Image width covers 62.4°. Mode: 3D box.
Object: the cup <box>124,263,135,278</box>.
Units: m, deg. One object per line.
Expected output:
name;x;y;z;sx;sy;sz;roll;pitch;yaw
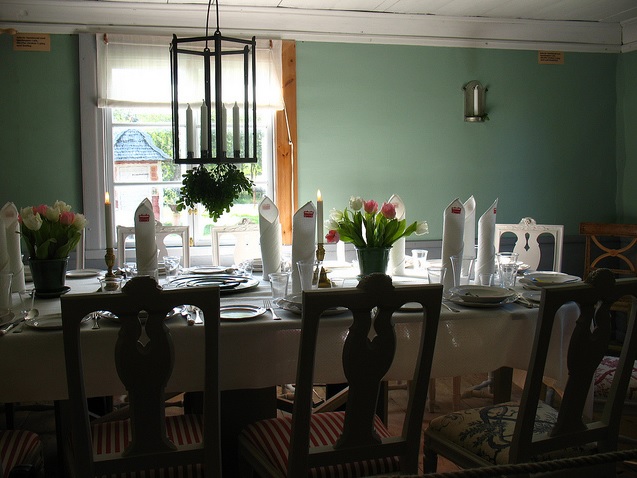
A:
cup;-0.982;0.168;2.733;0.053;0.090;0.056;4;4;0

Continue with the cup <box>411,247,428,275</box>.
cup;0.617;0.136;3.006;0.114;0.159;0.120;1;-2;0

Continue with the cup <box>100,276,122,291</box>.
cup;-1.007;0.221;2.549;0.068;0.053;0.072;2;0;0

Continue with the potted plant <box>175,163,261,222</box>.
potted plant;-0.513;-0.224;2.579;0.360;0.282;0.454;-3;6;-16

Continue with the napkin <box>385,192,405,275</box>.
napkin;0.434;-0.034;3.005;0.121;0.551;0.127;4;-30;1

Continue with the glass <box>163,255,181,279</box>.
glass;-0.706;0.137;2.562;0.087;0.127;0.100;1;2;-11

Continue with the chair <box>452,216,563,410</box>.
chair;1.416;0.521;3.533;0.521;1.230;0.513;3;7;13

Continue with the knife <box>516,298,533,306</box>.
knife;0.901;0.278;2.286;0.014;0.018;0.097;17;3;-29

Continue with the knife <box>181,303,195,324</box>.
knife;-0.529;0.306;2.125;0.044;0.028;0.197;-5;12;-22

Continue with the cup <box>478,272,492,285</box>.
cup;0.763;0.182;2.404;0.047;0.042;0.050;1;3;0

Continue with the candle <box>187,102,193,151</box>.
candle;-0.621;-0.532;2.536;0.031;0.228;0.071;-2;6;-10

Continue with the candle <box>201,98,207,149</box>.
candle;-0.544;-0.538;2.505;0.030;0.225;0.065;0;6;10

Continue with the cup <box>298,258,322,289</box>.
cup;-0.040;0.152;2.276;0.116;0.152;0.113;1;-1;0

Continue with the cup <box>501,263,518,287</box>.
cup;0.899;0.174;2.479;0.093;0.121;0.090;0;0;0

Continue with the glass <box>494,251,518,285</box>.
glass;0.940;0.154;2.634;0.131;0.185;0.142;2;5;16

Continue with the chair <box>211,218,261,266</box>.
chair;-0.576;0.031;3.668;0.275;0.523;0.289;-2;14;-10

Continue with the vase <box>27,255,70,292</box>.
vase;-1.299;0.168;2.536;0.156;0.147;0.170;1;-2;-9

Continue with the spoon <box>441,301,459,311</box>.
spoon;0.557;0.290;2.234;0.015;0.018;0.113;-3;16;-23

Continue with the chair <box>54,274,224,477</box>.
chair;-0.745;0.540;2.121;0.567;0.913;0.972;-4;7;-29

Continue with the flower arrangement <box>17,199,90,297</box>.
flower arrangement;-1.275;0.058;2.497;0.273;0.423;0.289;-2;-1;-5

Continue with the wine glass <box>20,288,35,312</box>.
wine glass;-1.180;0.243;2.133;0.068;0.099;0.068;2;-2;-18

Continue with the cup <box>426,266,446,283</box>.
cup;0.519;0.153;2.316;0.081;0.072;0.075;2;1;0

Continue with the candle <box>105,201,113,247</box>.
candle;-0.989;-0.066;2.476;0.024;0.210;0.077;-3;6;-17

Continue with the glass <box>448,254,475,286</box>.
glass;0.662;0.144;2.444;0.121;0.164;0.125;1;1;-22

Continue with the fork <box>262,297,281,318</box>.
fork;-0.186;0.290;2.219;0.029;0.027;0.214;0;15;-13

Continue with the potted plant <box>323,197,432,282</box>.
potted plant;0.271;0.016;2.673;0.416;0.367;0.432;1;-2;-4

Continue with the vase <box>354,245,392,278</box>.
vase;0.270;0.107;2.608;0.150;0.127;0.156;-1;4;-18

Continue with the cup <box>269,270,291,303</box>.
cup;-0.167;0.219;2.357;0.105;0.148;0.114;0;3;0

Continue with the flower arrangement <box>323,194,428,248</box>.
flower arrangement;0.303;-0.093;2.654;0.467;0.256;0.286;1;-5;20

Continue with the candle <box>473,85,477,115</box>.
candle;1.347;-1.185;4.513;0.033;0.236;0.010;1;6;19
